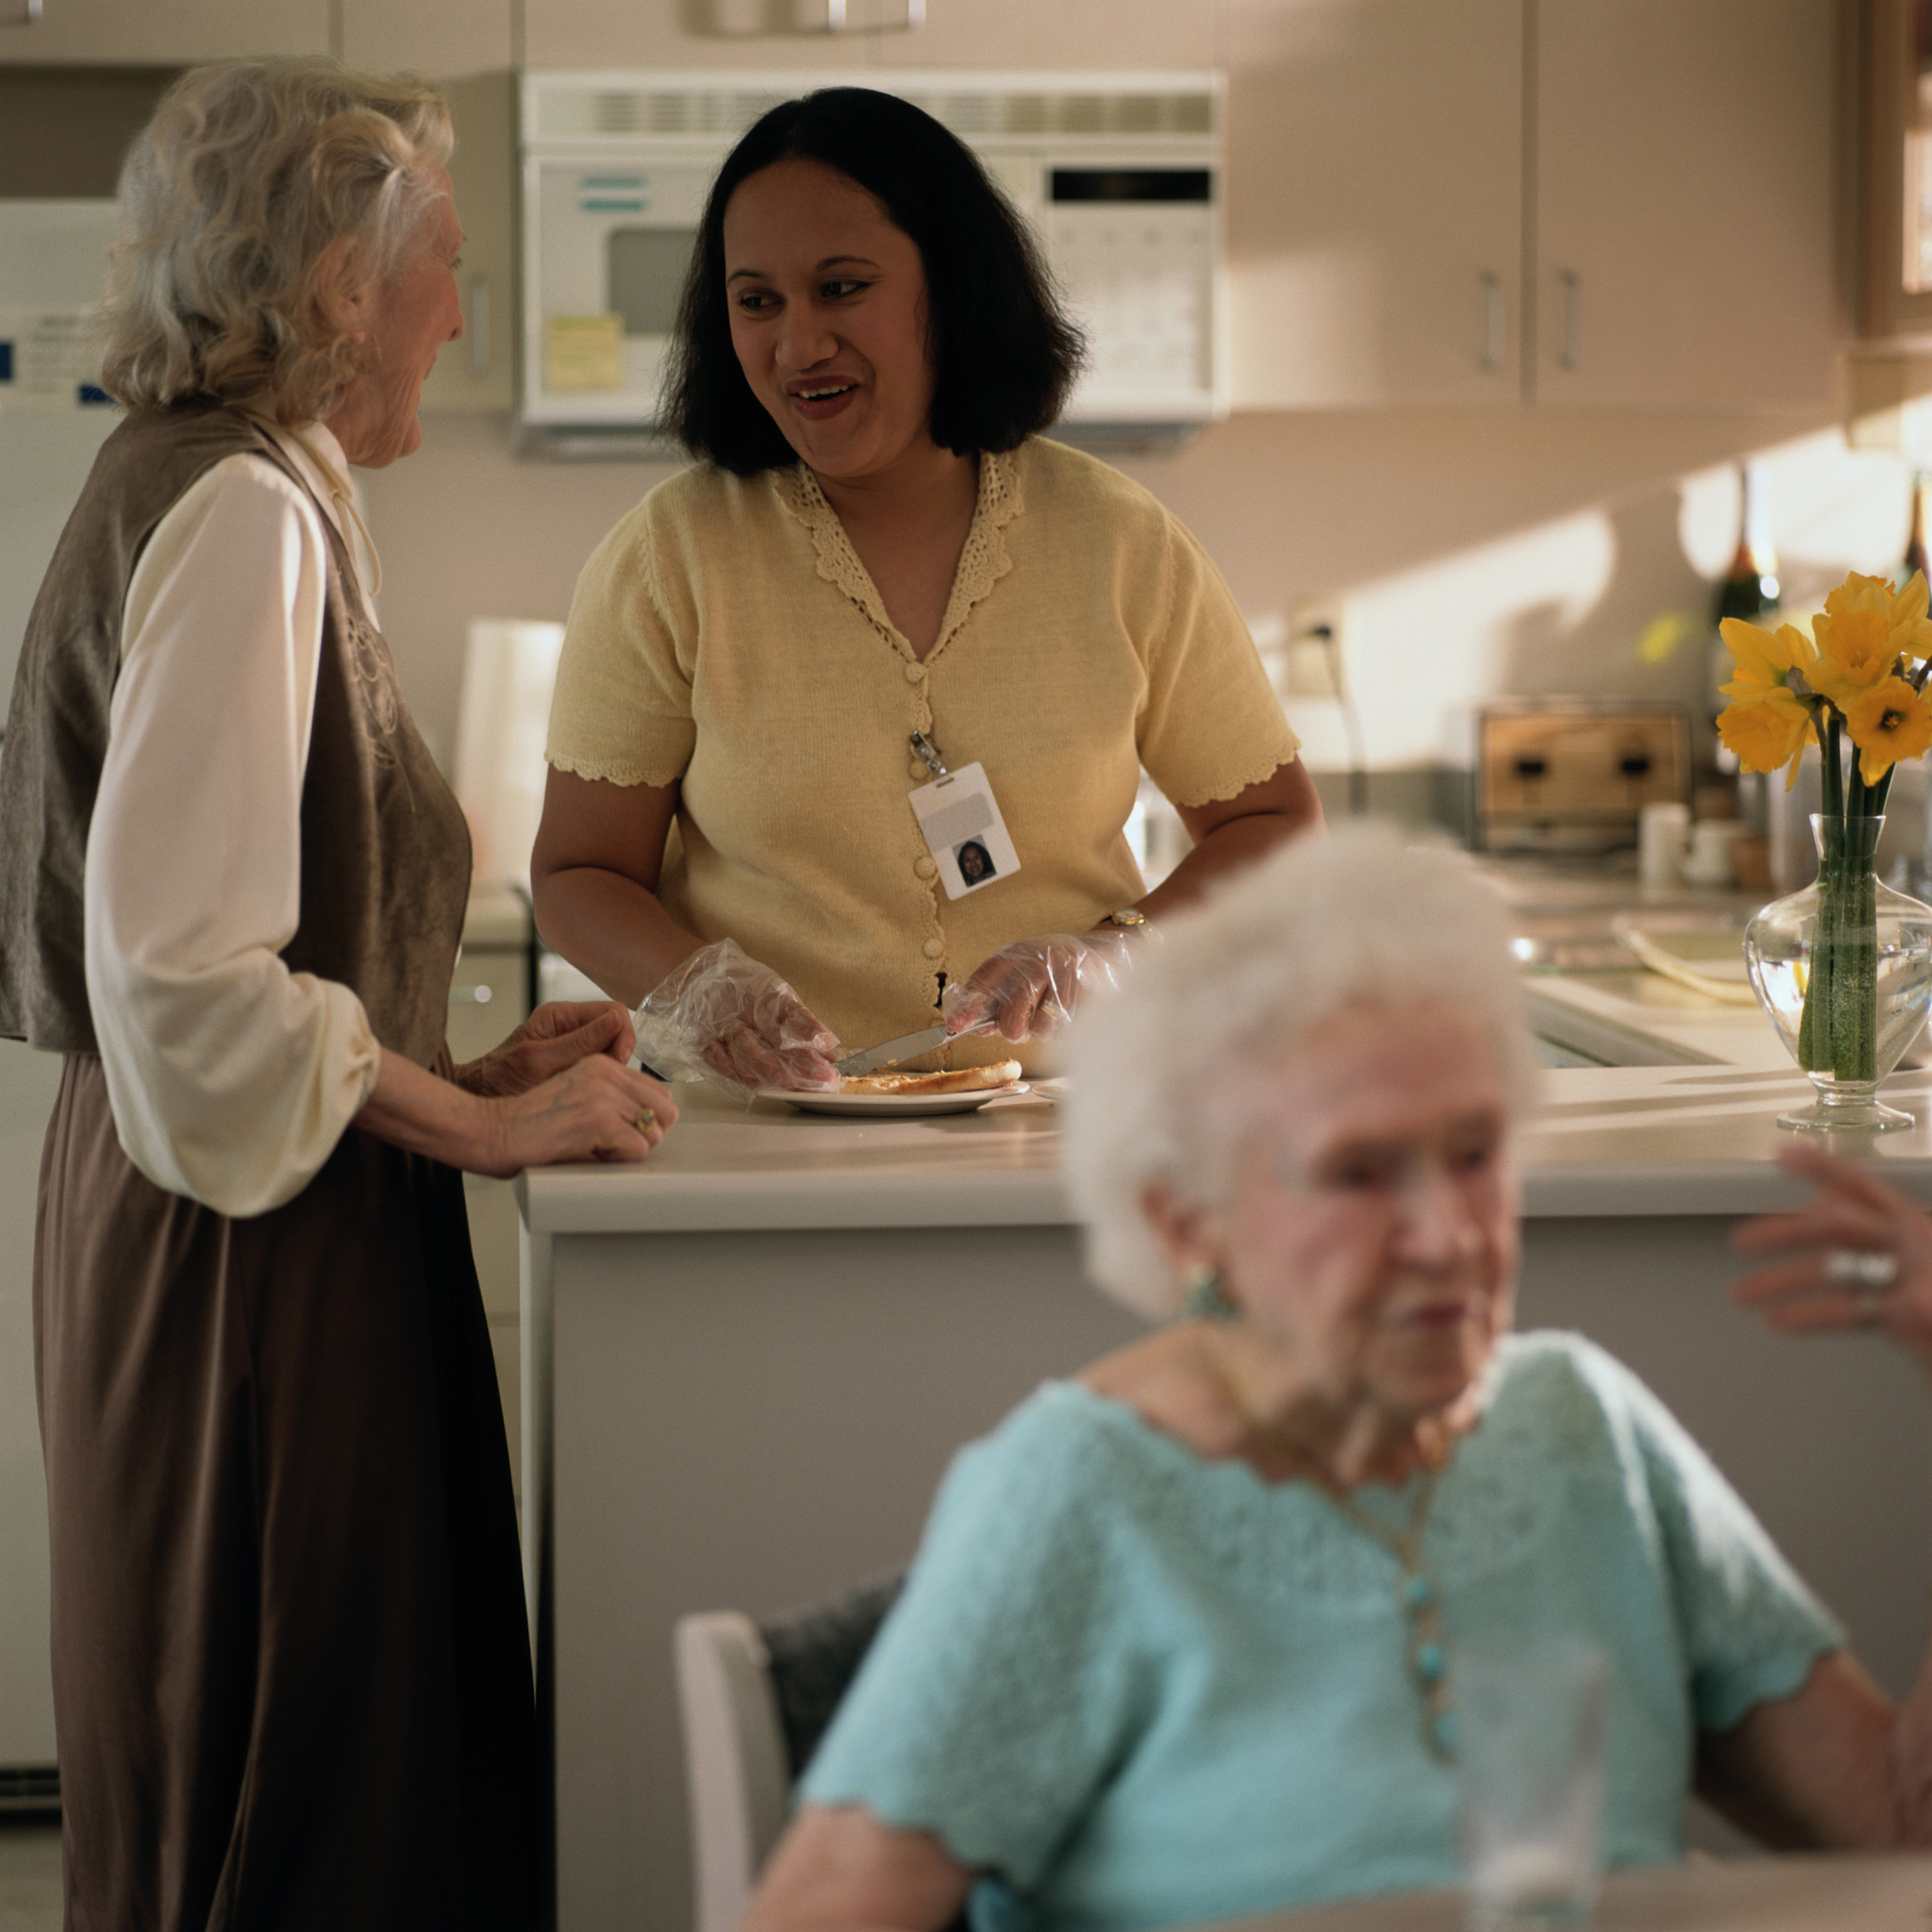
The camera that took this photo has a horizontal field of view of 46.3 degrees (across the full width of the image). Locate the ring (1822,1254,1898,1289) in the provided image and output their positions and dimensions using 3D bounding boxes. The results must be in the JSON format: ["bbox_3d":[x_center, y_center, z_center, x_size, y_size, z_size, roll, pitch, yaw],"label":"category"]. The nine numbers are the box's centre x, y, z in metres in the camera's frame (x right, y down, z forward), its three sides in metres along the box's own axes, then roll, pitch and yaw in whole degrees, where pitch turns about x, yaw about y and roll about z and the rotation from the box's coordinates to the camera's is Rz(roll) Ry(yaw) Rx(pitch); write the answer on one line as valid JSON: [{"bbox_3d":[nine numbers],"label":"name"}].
[{"bbox_3d":[0.333,0.114,0.848,0.014,0.007,0.019,1,0,3],"label":"ring"}]

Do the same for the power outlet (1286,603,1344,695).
[{"bbox_3d":[0.598,-0.556,3.928,0.113,0.171,0.114,-1,-3,-17],"label":"power outlet"}]

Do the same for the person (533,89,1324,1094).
[{"bbox_3d":[-0.041,-0.192,1.851,0.590,0.974,0.578,-4,28,0],"label":"person"}]

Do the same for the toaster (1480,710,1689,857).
[{"bbox_3d":[1.087,-0.339,3.923,0.373,0.275,0.227,0,10,26],"label":"toaster"}]
